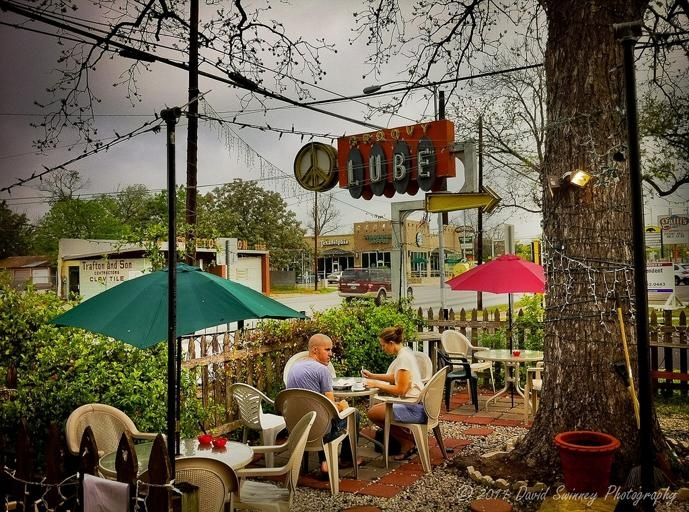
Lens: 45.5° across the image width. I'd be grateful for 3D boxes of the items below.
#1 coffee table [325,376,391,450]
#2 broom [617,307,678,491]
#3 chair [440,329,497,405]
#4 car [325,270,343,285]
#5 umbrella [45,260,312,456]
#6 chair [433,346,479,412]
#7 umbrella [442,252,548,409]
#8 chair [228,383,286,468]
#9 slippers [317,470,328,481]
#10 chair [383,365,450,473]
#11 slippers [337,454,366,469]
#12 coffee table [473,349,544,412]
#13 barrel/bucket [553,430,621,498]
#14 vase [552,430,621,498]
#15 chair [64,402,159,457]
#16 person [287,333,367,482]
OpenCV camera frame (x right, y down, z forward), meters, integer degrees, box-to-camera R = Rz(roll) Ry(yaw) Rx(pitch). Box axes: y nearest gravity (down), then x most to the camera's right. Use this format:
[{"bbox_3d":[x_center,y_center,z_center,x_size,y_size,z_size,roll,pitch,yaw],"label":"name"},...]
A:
[{"bbox_3d":[0.111,2.160,11.728,0.959,0.994,0.951,3,-6,-44],"label":"coffee table"},{"bbox_3d":[3.434,1.685,9.983,0.575,2.839,0.209,-25,17,-13],"label":"broom"},{"bbox_3d":[2.292,1.979,15.186,1.027,1.581,1.030,2,-5,-43],"label":"chair"},{"bbox_3d":[-0.811,1.762,64.718,1.104,0.711,2.066,1,7,13],"label":"car"},{"bbox_3d":[-1.970,0.968,9.546,2.500,1.819,1.201,0,-5,-23],"label":"umbrella"},{"bbox_3d":[1.932,2.061,14.287,0.739,1.261,0.791,2,3,6],"label":"chair"},{"bbox_3d":[2.705,0.956,14.128,1.538,1.562,1.667,0,2,2],"label":"umbrella"},{"bbox_3d":[-1.111,2.194,11.415,0.608,1.219,0.828,2,1,29],"label":"chair"},{"bbox_3d":[-0.284,2.902,10.932,0.115,0.137,0.140,2,2,-20],"label":"slippers"},{"bbox_3d":[1.008,2.194,11.340,0.710,1.440,0.857,5,4,7],"label":"chair"},{"bbox_3d":[0.108,2.840,11.332,0.375,0.312,0.160,-4,0,4],"label":"slippers"},{"bbox_3d":[2.928,2.205,14.248,0.945,1.146,1.022,1,2,36],"label":"coffee table"},{"bbox_3d":[2.933,2.466,9.967,0.646,0.642,0.719,1,-4,-1],"label":"barrel/bucket"},{"bbox_3d":[2.863,2.456,9.816,0.631,0.782,0.675,-2,-4,19],"label":"vase"},{"bbox_3d":[-2.963,2.063,9.972,0.725,1.073,0.671,2,-5,-38],"label":"chair"},{"bbox_3d":[-0.311,2.061,11.110,0.922,1.840,0.994,5,5,-35],"label":"person"}]
